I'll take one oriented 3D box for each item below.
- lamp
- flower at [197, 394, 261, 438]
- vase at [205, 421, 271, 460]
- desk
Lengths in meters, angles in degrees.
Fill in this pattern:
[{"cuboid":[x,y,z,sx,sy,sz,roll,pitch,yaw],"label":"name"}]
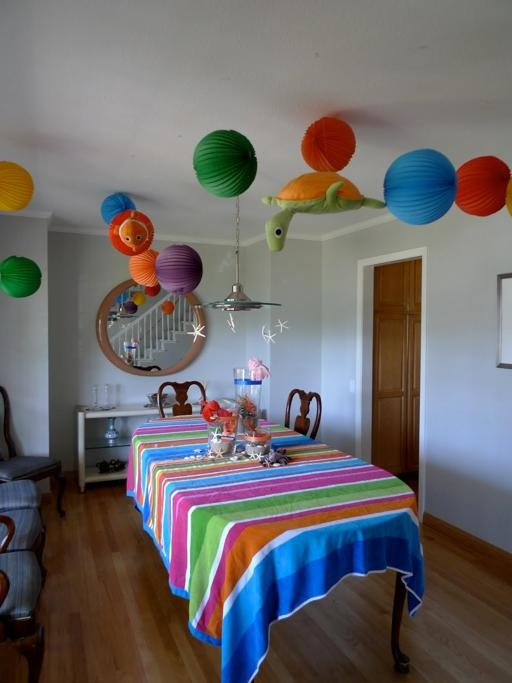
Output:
[{"cuboid":[-0.090,-0.470,2.627,0.314,0.547,0.313,-7,19,-18],"label":"lamp"},{"cuboid":[-0.135,0.435,2.686,0.222,0.248,0.252,-2,10,-3],"label":"flower"},{"cuboid":[-0.090,0.499,2.566,0.285,0.192,0.164,2,1,1],"label":"vase"},{"cuboid":[-0.031,0.601,2.022,0.668,0.331,1.312,-2,-2,-19],"label":"desk"}]
